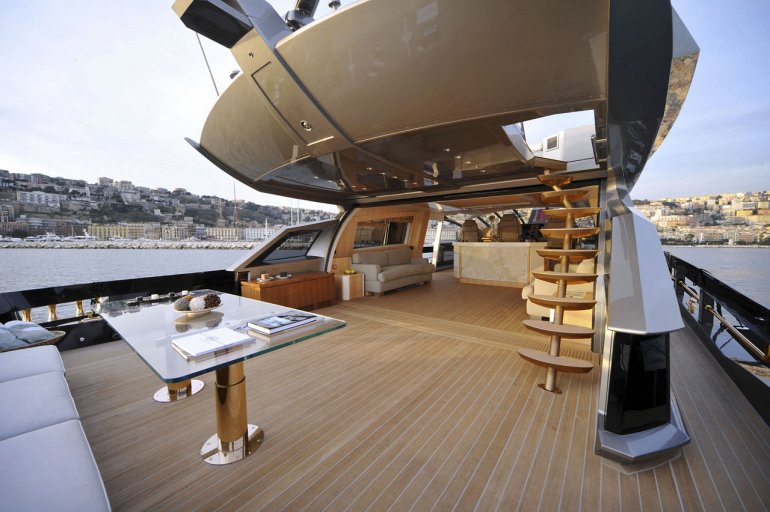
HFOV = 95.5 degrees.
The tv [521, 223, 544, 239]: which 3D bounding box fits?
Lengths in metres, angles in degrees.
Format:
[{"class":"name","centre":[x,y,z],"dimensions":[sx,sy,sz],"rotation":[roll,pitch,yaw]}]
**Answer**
[{"class":"tv","centre":[4.724,-0.767,11.222],"dimensions":[0.659,0.430,1.175],"rotation":[3,15,20]}]

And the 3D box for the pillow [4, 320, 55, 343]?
[{"class":"pillow","centre":[-4.812,0.993,4.708],"dimensions":[0.433,0.120,0.327],"rotation":[21,10,22]}]

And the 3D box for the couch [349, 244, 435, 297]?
[{"class":"couch","centre":[0.224,0.356,9.815],"dimensions":[1.008,1.130,2.202],"rotation":[11,19,43]}]

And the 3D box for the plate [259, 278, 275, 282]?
[{"class":"plate","centre":[-2.436,0.498,7.217],"dimensions":[0.145,0.041,0.145],"rotation":[2,13,7]}]

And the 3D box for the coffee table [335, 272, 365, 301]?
[{"class":"coffee table","centre":[-0.829,0.674,8.953],"dimensions":[0.634,0.762,0.895],"rotation":[-1,1,28]}]

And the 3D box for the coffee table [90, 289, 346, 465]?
[{"class":"coffee table","centre":[-1.754,0.603,3.824],"dimensions":[1.651,1.374,3.005],"rotation":[-12,18,-42]}]

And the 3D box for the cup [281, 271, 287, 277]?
[{"class":"cup","centre":[-2.173,0.399,7.641],"dimensions":[0.102,0.057,0.103],"rotation":[-1,11,0]}]

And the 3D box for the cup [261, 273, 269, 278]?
[{"class":"cup","centre":[-2.489,0.426,7.308],"dimensions":[0.095,0.111,0.179],"rotation":[-5,-5,40]}]
